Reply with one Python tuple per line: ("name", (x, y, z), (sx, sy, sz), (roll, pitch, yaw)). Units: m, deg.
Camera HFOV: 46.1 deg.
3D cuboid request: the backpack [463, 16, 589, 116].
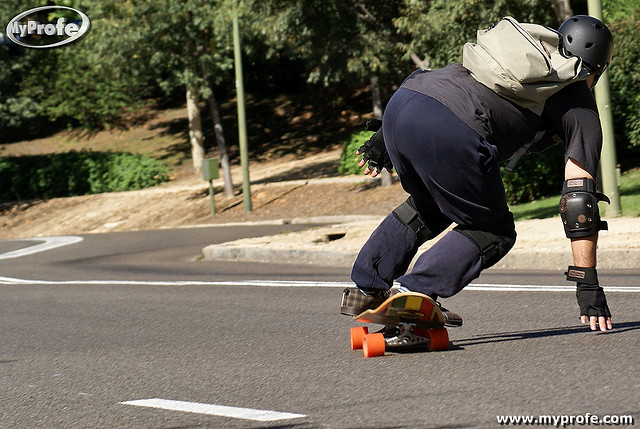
("backpack", (1.315, -0.951, 4.912), (0.750, 0.613, 0.311), (13, -59, -52))
